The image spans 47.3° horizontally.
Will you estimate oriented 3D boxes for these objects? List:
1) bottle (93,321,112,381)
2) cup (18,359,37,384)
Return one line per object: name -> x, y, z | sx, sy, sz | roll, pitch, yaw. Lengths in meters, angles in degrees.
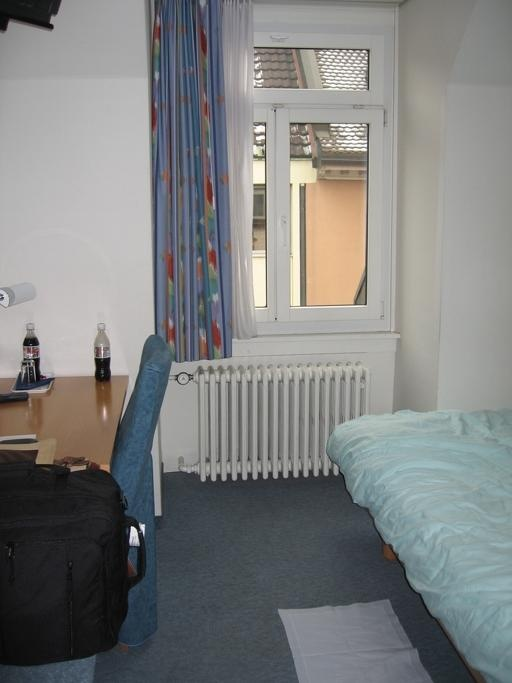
bottle -> -0.618, 0.042, 2.361 | 0.068, 0.216, 0.155 | -2, 7, -16
cup -> -0.856, 0.118, 2.204 | 0.042, 0.111, 0.054 | 3, 17, 0
